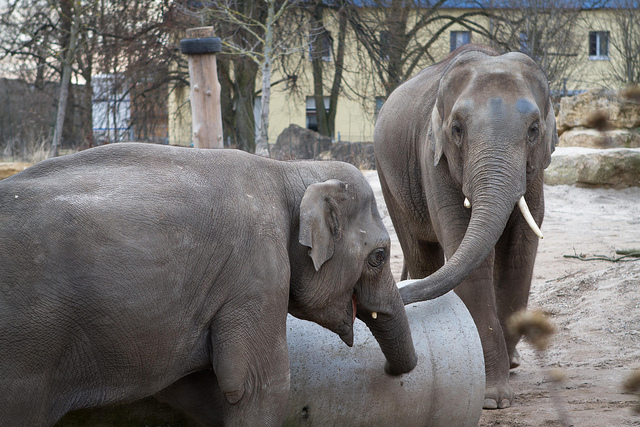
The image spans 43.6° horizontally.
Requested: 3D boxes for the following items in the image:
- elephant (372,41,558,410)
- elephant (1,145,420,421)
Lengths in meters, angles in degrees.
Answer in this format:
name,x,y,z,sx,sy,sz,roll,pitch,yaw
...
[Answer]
name,x,y,z,sx,sy,sz,roll,pitch,yaw
elephant,1.143,-0.027,6.600,0.976,2.757,3.395,-4,21,-7
elephant,-0.736,0.262,5.264,2.404,2.043,1.095,-3,4,-22
